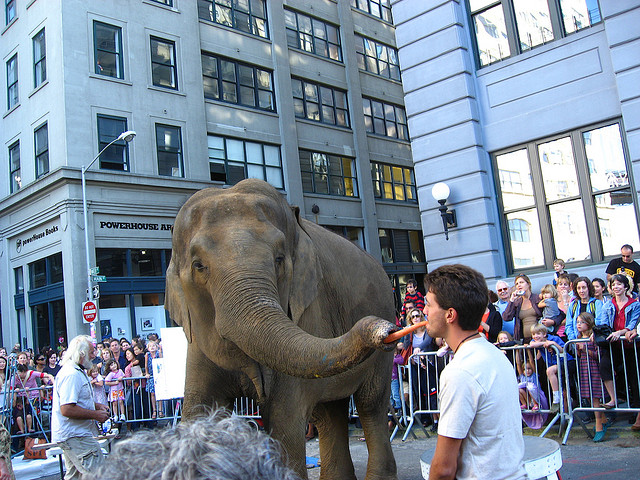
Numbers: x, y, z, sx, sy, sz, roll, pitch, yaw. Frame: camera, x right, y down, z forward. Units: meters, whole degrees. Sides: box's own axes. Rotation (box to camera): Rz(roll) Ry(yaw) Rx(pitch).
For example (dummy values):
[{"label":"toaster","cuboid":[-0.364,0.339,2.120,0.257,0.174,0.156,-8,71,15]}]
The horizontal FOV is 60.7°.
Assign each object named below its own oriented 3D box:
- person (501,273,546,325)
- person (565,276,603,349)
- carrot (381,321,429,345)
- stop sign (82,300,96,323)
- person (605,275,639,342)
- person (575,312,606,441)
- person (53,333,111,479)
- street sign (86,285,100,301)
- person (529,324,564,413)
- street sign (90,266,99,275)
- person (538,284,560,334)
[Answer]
[{"label":"person","cuboid":[3.877,1.149,10.480,0.337,1.029,0.467,17,-32,-41]},{"label":"person","cuboid":[4.481,1.442,9.360,0.527,1.605,0.457,1,3,27]},{"label":"carrot","cuboid":[0.508,0.565,3.323,0.291,0.111,0.125,-3,-10,-16]},{"label":"stop sign","cuboid":[-8.789,2.703,20.803,0.790,1.036,0.128,-12,-22,7]},{"label":"person","cuboid":[4.827,1.061,8.799,0.845,1.032,0.441,1,-11,-32]},{"label":"person","cuboid":[4.298,2.120,8.803,0.373,1.893,0.743,-7,-10,17]},{"label":"person","cuboid":[-2.991,2.075,6.829,0.707,1.764,0.629,-3,-10,-10]},{"label":"street sign","cuboid":[-8.699,2.043,20.947,0.443,0.668,0.204,-3,-6,39]},{"label":"person","cuboid":[3.834,2.123,9.201,0.483,1.431,0.543,-11,-11,33]},{"label":"street sign","cuboid":[-8.860,1.180,21.451,0.286,0.320,0.655,1,-12,-31]},{"label":"person","cuboid":[4.027,1.247,9.720,0.284,0.769,0.305,5,-43,28]}]
